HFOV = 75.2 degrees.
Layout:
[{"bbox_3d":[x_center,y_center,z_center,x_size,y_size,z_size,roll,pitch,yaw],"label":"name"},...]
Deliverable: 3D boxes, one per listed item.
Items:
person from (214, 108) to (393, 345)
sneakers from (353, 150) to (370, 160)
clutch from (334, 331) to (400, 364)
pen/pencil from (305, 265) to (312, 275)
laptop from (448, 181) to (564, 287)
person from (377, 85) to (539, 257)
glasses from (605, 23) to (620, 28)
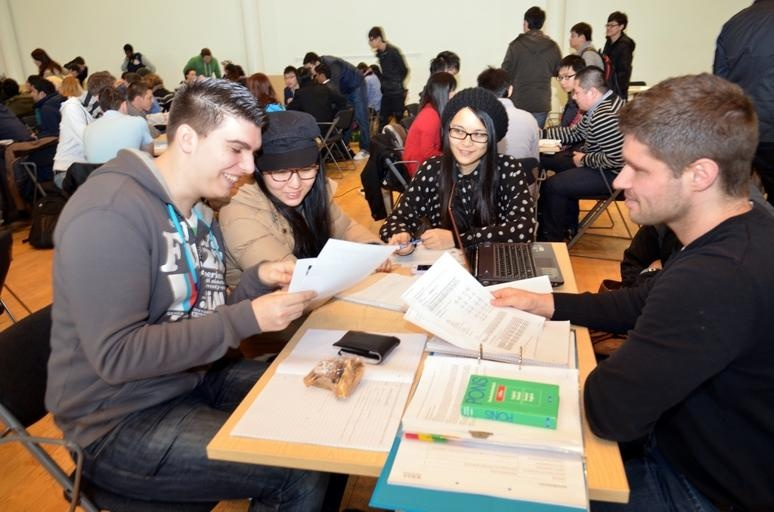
[{"bbox_3d":[-0.404,-0.036,2.418,0.802,1.270,0.899,-1,22,-5],"label":"person"},{"bbox_3d":[-0.391,-1.529,7.717,0.160,0.190,0.478,-1,5,14],"label":"sneakers"},{"bbox_3d":[-0.069,0.285,1.630,0.116,0.039,0.116,6,19,16],"label":"clutch"},{"bbox_3d":[-0.249,0.044,1.601,0.025,0.025,0.019,6,18,-8],"label":"pen/pencil"},{"bbox_3d":[0.577,-0.058,1.991,0.421,0.257,0.413,11,45,40],"label":"laptop"},{"bbox_3d":[0.387,-0.363,2.697,0.776,1.002,0.668,-3,32,5],"label":"person"},{"bbox_3d":[2.918,-2.994,6.476,0.078,0.045,0.179,-16,29,-30],"label":"glasses"}]
